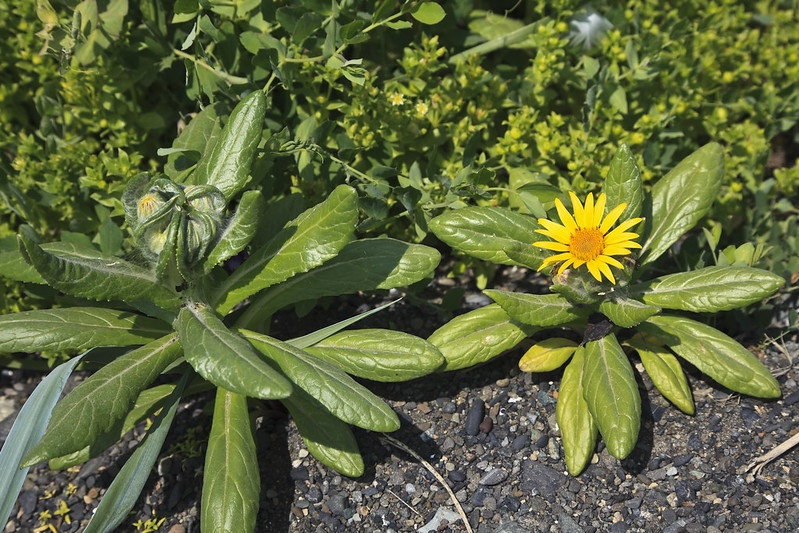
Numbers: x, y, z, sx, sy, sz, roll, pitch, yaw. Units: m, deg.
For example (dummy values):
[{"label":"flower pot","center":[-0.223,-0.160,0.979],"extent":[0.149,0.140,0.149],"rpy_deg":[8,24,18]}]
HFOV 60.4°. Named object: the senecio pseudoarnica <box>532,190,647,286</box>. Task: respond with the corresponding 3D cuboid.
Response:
[{"label":"senecio pseudoarnica","center":[0.975,-0.158,3.581],"extent":[0.525,0.395,0.509],"rpy_deg":[9,44,12]}]
